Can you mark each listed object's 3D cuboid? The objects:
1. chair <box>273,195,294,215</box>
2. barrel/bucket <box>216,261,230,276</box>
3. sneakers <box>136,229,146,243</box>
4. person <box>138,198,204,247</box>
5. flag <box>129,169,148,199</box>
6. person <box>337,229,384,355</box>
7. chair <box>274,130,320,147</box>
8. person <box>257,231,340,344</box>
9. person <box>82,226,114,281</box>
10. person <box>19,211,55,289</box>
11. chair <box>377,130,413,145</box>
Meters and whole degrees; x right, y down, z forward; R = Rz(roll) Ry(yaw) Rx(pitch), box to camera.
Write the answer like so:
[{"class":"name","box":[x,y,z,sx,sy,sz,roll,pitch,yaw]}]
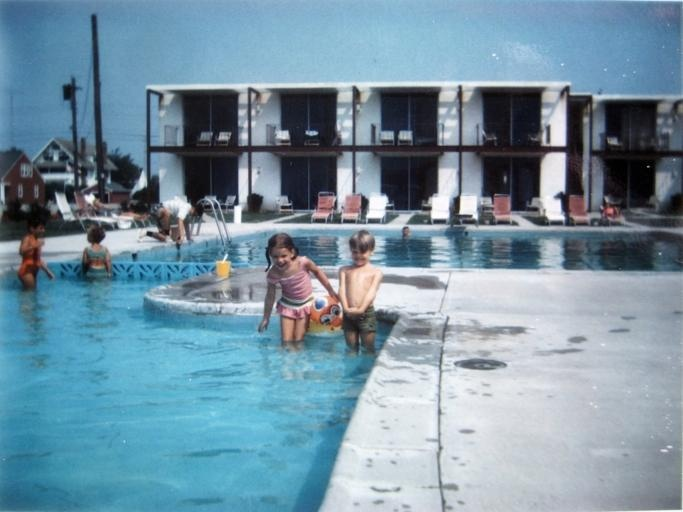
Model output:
[{"class":"chair","box":[-2.219,-1.977,28.002,0.810,1.114,0.740,-4,7,-32]},{"class":"barrel/bucket","box":[-1.474,0.156,8.690,0.186,0.153,0.181,-1,0,0]},{"class":"sneakers","box":[-3.986,-0.392,13.821,0.152,0.138,0.365,29,-41,-8]},{"class":"person","box":[-3.207,-0.681,13.654,0.847,0.829,1.405,-1,9,16]},{"class":"flag","box":[-10.357,-3.695,35.506,1.351,1.040,2.279,8,1,-9]},{"class":"person","box":[0.166,0.305,6.145,0.385,1.062,0.399,-3,8,2]},{"class":"chair","box":[-1.801,-4.666,27.267,2.119,0.735,0.837,-1,7,-24]},{"class":"person","box":[-0.430,0.281,6.216,0.669,1.046,0.721,-3,8,0]},{"class":"person","box":[-3.435,-0.057,9.702,0.417,0.785,0.862,-7,9,-20]},{"class":"person","box":[-4.101,-0.053,9.225,0.423,0.898,1.484,-7,9,-23]},{"class":"chair","box":[2.113,-4.494,26.583,1.264,0.602,1.047,-3,9,3]}]
